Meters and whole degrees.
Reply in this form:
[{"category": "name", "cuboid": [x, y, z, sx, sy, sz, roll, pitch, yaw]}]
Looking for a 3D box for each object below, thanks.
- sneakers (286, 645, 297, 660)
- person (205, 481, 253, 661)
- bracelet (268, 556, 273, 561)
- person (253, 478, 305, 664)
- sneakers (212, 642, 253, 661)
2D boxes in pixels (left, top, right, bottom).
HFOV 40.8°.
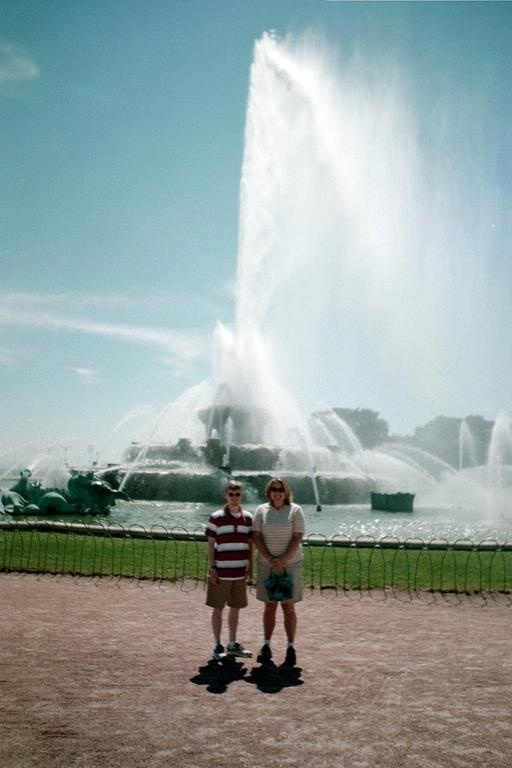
[{"category": "sneakers", "cuboid": [0.312, 2.379, 6.079, 0.074, 0.127, 0.052, 2, -18, -2]}, {"category": "person", "cuboid": [-0.246, 1.699, 6.345, 0.462, 1.577, 0.474, 3, -6, -2]}, {"category": "bracelet", "cuboid": [0.121, 1.572, 6.196, 0.031, 0.045, 0.011, -1, -4, 2]}, {"category": "person", "cuboid": [0.183, 1.672, 6.226, 0.466, 1.611, 0.446, 2, -6, 3]}, {"category": "sneakers", "cuboid": [-0.225, 2.435, 6.220, 0.403, 0.176, 0.148, 2, -5, -5]}]
